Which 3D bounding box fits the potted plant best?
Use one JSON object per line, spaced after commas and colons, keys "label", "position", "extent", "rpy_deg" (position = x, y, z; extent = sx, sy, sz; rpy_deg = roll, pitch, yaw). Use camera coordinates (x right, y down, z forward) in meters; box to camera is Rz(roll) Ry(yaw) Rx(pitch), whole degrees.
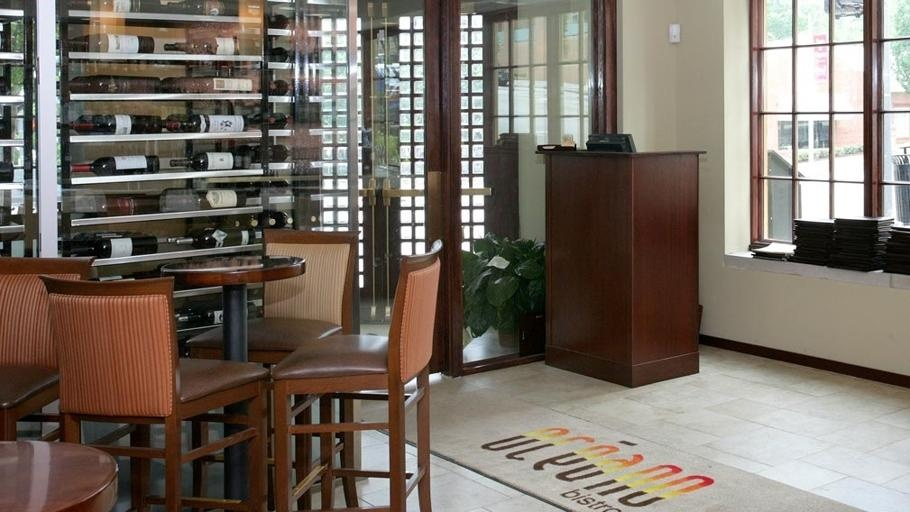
{"label": "potted plant", "position": [0.398, 0.267, 6.287], "extent": [1.000, 0.709, 0.950], "rpy_deg": [1, 8, 15]}

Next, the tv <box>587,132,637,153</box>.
{"label": "tv", "position": [1.336, -0.984, 5.832], "extent": [0.419, 0.142, 0.137], "rpy_deg": [12, 19, 43]}

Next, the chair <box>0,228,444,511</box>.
{"label": "chair", "position": [-1.286, 0.633, 3.865], "extent": [2.481, 1.419, 1.293], "rpy_deg": [0, 3, 21]}
